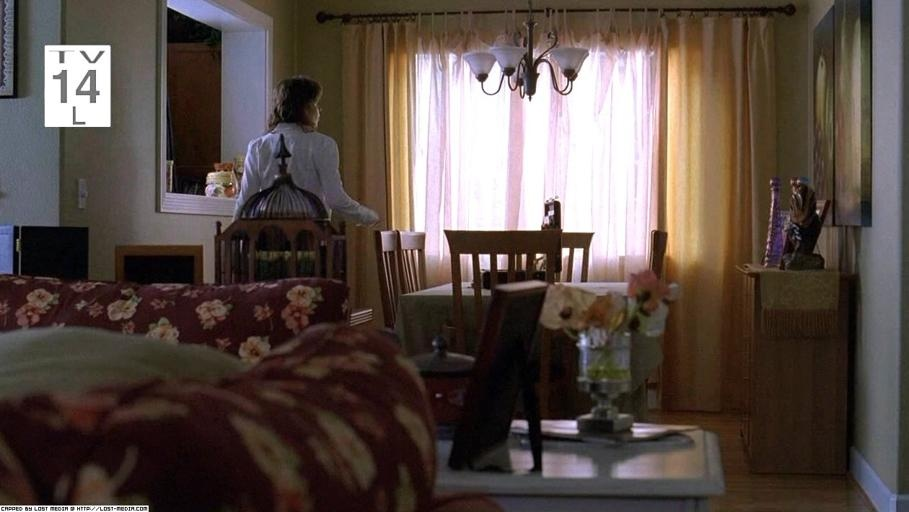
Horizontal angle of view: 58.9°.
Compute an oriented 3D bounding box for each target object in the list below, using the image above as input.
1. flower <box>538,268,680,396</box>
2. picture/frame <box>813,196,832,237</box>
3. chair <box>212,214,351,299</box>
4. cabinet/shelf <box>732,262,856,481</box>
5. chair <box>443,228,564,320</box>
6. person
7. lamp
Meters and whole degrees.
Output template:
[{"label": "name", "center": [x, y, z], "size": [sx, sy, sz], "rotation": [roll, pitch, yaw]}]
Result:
[{"label": "flower", "center": [0.619, 0.263, 3.493], "size": [0.479, 0.691, 0.607], "rotation": [1, -1, -5]}, {"label": "picture/frame", "center": [2.370, -0.258, 5.174], "size": [0.060, 0.219, 0.230], "rotation": [11, 6, 7]}, {"label": "chair", "center": [-0.926, 0.009, 4.630], "size": [0.567, 0.322, 0.592], "rotation": [-3, -4, 27]}, {"label": "cabinet/shelf", "center": [2.257, 0.681, 5.673], "size": [0.722, 1.312, 1.306], "rotation": [0, 0, 6]}, {"label": "chair", "center": [0.271, 0.079, 4.593], "size": [0.516, 0.870, 0.573], "rotation": [1, 4, 8]}, {"label": "person", "center": [-1.053, -0.648, 5.258], "size": [0.977, 0.968, 0.485], "rotation": [-2, -3, 17]}, {"label": "lamp", "center": [0.524, -1.393, 5.668], "size": [0.901, 0.633, 0.894], "rotation": [2, 6, 7]}]
